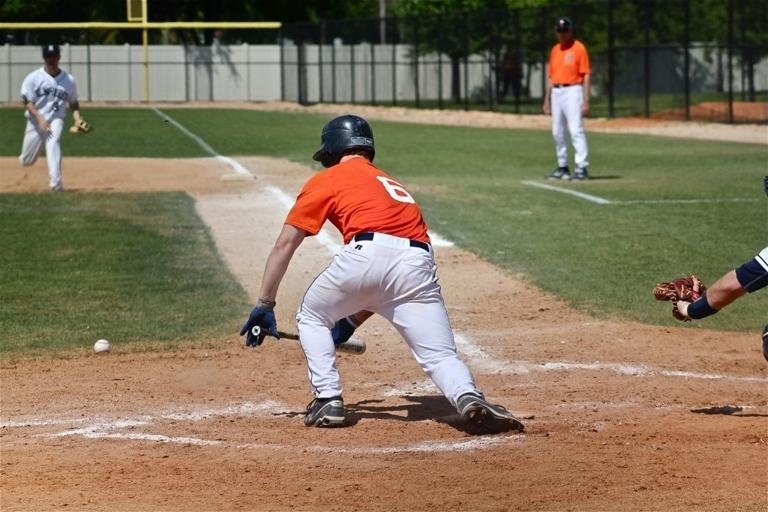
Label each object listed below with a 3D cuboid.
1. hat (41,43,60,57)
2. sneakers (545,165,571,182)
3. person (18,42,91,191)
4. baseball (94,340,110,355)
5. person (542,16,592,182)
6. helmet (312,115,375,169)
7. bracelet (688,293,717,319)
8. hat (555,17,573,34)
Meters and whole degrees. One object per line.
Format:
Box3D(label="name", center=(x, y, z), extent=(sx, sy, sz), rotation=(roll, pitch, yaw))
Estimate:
Box3D(label="hat", center=(-5.365, -3.245, 20.461), extent=(0.244, 0.159, 0.331), rotation=(1, -11, -13))
Box3D(label="sneakers", center=(2.919, -1.345, 21.037), extent=(0.499, 0.272, 0.163), rotation=(5, 25, 10))
Box3D(label="person", center=(-5.419, -2.210, 20.694), extent=(1.072, 2.358, 1.199), rotation=(-4, 8, -13))
Box3D(label="baseball", center=(-3.521, 1.125, 15.728), extent=(0.171, 0.157, 0.163), rotation=(2, -33, 25))
Box3D(label="person", center=(2.956, -2.486, 20.495), extent=(0.501, 2.593, 0.856), rotation=(-7, 9, -29))
Box3D(label="helmet", center=(-0.458, -1.315, 14.580), extent=(0.690, 0.493, 0.515), rotation=(4, 6, 39))
Box3D(label="bracelet", center=(3.522, 0.591, 14.259), extent=(0.305, 0.127, 0.236), rotation=(-24, 21, 35))
Box3D(label="hat", center=(2.882, -3.660, 20.489), extent=(0.265, 0.260, 0.503), rotation=(-1, 7, 7))
